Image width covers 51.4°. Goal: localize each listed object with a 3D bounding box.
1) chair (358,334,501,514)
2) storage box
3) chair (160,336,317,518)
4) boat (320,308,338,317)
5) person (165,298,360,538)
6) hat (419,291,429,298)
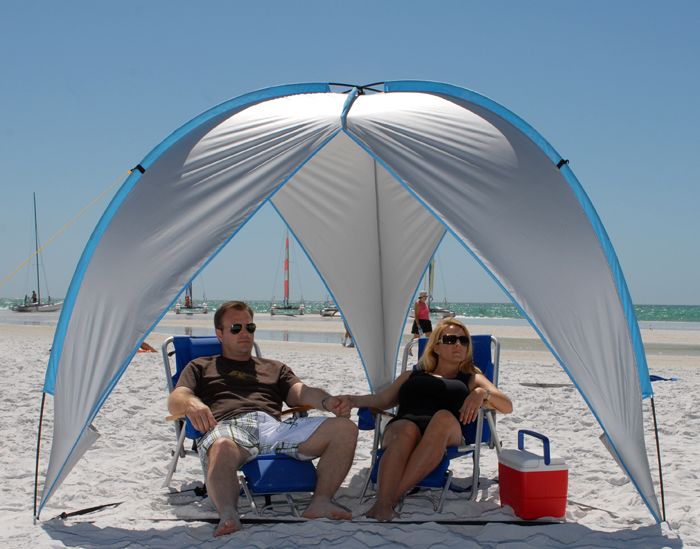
[{"bbox_3d":[0.681,1.134,6.000,1.004,1.282,1.745,-2,-2,22],"label":"chair"},{"bbox_3d":[1.327,1.542,5.616,0.447,0.734,0.658,1,1,-9],"label":"storage box"},{"bbox_3d":[-0.796,1.237,5.680,0.886,1.348,1.852,4,0,-32],"label":"chair"},{"bbox_3d":[-1.355,2.490,48.233,1.008,0.814,2.014,-1,-4,-3],"label":"boat"},{"bbox_3d":[-0.687,0.997,5.609,1.385,1.601,1.042,0,-2,-15],"label":"person"},{"bbox_3d":[1.269,0.339,12.446,0.255,0.086,0.258,0,-1,-1],"label":"hat"}]
